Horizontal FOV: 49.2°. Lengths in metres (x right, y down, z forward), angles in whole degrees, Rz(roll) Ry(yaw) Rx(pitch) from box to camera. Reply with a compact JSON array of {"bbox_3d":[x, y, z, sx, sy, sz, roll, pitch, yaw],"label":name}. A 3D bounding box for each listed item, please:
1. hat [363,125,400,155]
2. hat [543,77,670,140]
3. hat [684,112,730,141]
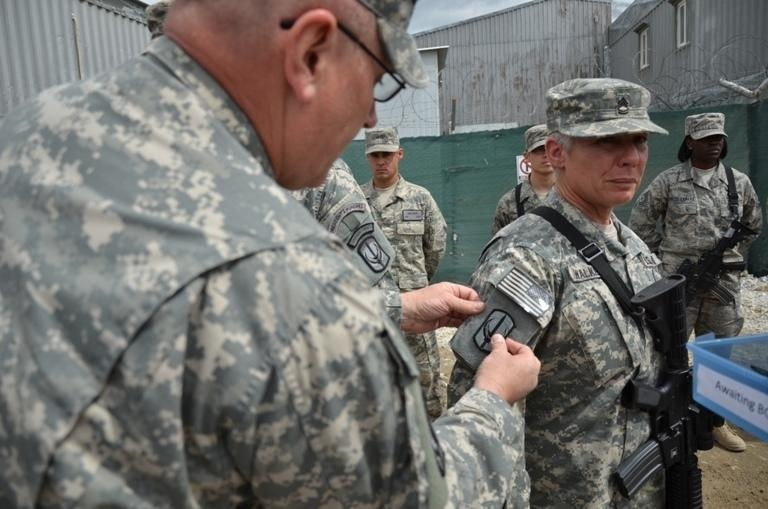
[{"bbox_3d":[-0.006,-1.028,7.786,0.318,0.239,0.453,-2,12,6],"label":"hat"},{"bbox_3d":[1.039,-0.702,4.061,0.432,0.218,0.351,-2,11,11],"label":"hat"},{"bbox_3d":[2.885,-1.161,7.541,0.253,0.182,0.334,-5,17,13],"label":"hat"}]
